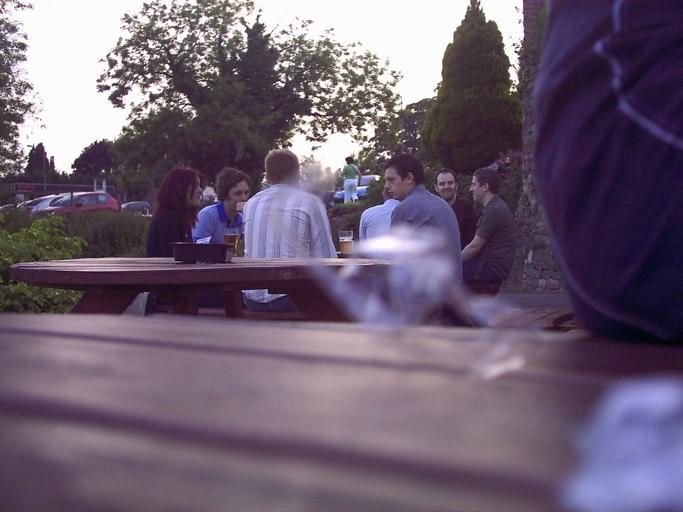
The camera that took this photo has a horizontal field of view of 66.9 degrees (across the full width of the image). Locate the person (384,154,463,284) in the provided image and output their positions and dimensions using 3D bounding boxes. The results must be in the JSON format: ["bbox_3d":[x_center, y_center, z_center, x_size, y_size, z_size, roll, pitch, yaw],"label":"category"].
[{"bbox_3d":[0.541,-0.351,3.599,0.406,1.154,0.415,-3,8,-33],"label":"person"}]

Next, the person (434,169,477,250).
[{"bbox_3d":[1.212,-0.529,5.470,0.326,1.021,0.325,-5,7,-43],"label":"person"}]

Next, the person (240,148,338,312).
[{"bbox_3d":[-0.373,-0.223,3.462,0.436,1.393,0.466,-5,8,-34],"label":"person"}]
